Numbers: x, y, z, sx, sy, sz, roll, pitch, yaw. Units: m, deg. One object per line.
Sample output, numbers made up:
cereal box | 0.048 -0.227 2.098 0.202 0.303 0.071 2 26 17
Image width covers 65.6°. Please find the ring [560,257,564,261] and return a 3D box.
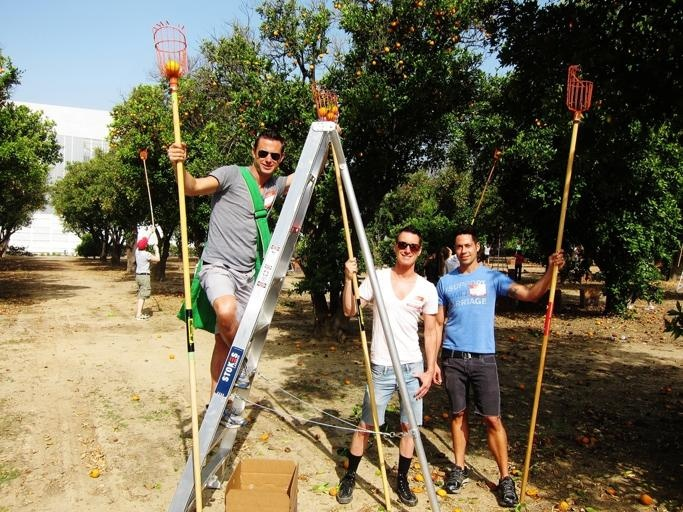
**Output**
ring | 2.343 0.038 5.651 0.028 0.045 0.014 -2 -10 0

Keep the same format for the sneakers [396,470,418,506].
sneakers | 0.721 2.680 6.100 0.147 0.262 0.388 -1 -6 -16

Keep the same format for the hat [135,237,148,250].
hat | -5.619 -0.340 14.941 0.294 0.249 0.412 6 4 -3

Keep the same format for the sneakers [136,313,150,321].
sneakers | -5.532 1.730 14.865 0.408 0.222 0.161 -2 7 -8

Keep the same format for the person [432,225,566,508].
person | 1.627 1.245 6.155 1.164 3.075 0.501 4 4 22

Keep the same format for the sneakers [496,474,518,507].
sneakers | 1.881 2.660 6.012 0.224 0.281 0.320 4 4 19
